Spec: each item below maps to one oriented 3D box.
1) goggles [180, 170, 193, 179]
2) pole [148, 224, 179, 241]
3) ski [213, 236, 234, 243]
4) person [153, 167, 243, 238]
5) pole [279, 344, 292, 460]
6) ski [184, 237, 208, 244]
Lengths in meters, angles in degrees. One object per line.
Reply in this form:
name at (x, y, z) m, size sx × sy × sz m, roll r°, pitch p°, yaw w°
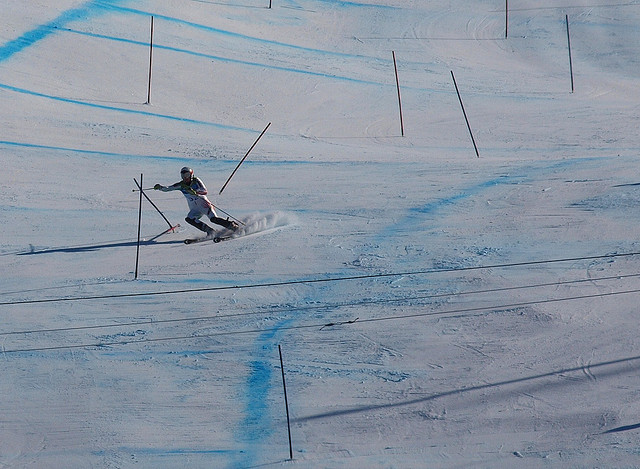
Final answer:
goggles at (-3.389, -1.494, 26.888) m, size 0.250 × 0.086 × 0.221 m, roll -3°, pitch -6°, yaw 8°
pole at (-3.994, -0.066, 27.345) m, size 0.936 × 0.571 × 0.108 m, roll 2°, pitch -35°, yaw -30°
ski at (-2.502, 0.117, 27.105) m, size 0.485 × 0.178 × 0.095 m, roll 1°, pitch -31°, yaw -24°
person at (-3.131, -0.815, 27.100) m, size 1.165 × 1.771 × 1.558 m, roll -21°, pitch -24°, yaw 9°
pole at (-0.837, 3.747, 23.354) m, size 0.180 × 2.434 × 0.049 m, roll -12°, pitch -16°, yaw 13°
ski at (-3.195, 0.151, 27.074) m, size 0.575 × 0.206 × 0.109 m, roll 2°, pitch -31°, yaw -26°
